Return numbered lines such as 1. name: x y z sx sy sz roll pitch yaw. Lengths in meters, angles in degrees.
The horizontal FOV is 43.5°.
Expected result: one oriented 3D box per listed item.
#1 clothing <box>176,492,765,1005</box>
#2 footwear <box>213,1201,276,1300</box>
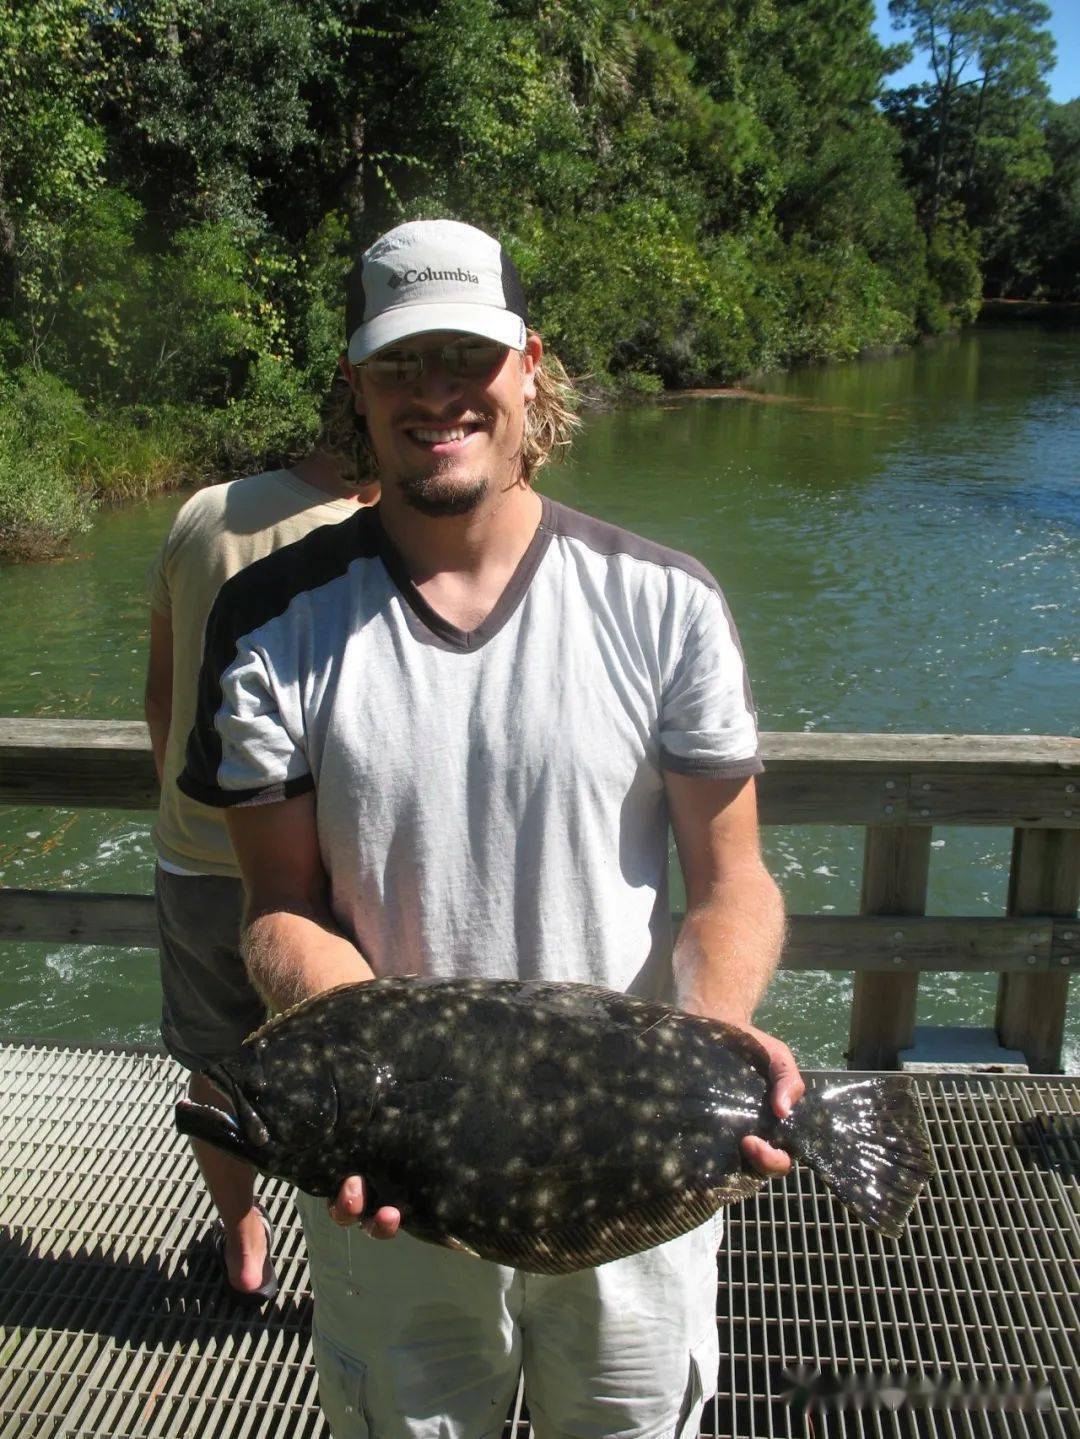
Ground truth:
1. clothing: -0.111 0.057 1.979 0.837 0.729 0.307 0 12 12
2. footwear: -0.640 1.136 2.923 0.107 0.076 0.253 -11 25 -18
